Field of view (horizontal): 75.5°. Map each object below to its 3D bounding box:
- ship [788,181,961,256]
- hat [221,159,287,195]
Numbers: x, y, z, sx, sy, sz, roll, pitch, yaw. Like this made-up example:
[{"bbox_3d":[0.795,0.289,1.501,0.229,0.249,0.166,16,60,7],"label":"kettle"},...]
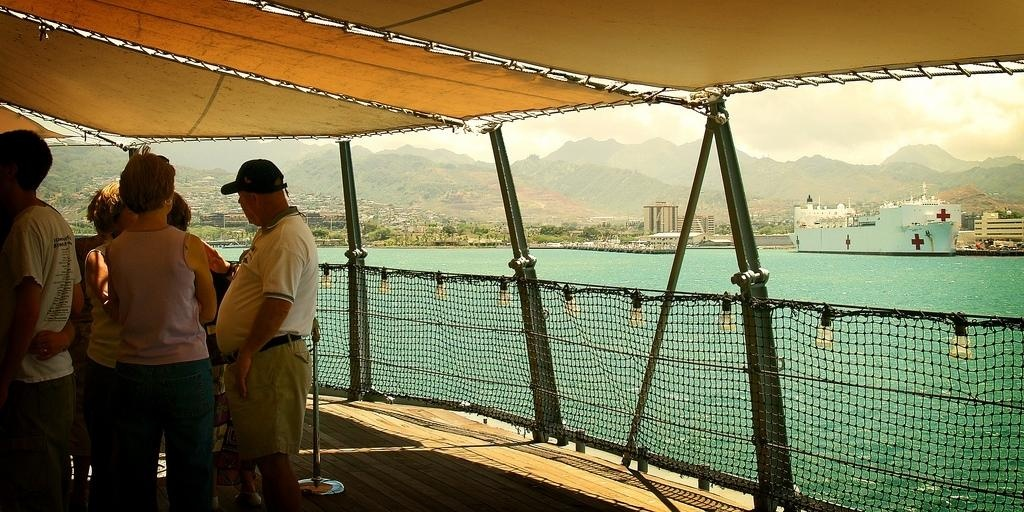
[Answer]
[{"bbox_3d":[32.041,-2.919,59.411,5.466,5.006,16.424,-3,4,-20],"label":"ship"},{"bbox_3d":[-2.487,-0.766,6.445,0.580,0.245,0.327,3,6,2],"label":"hat"}]
